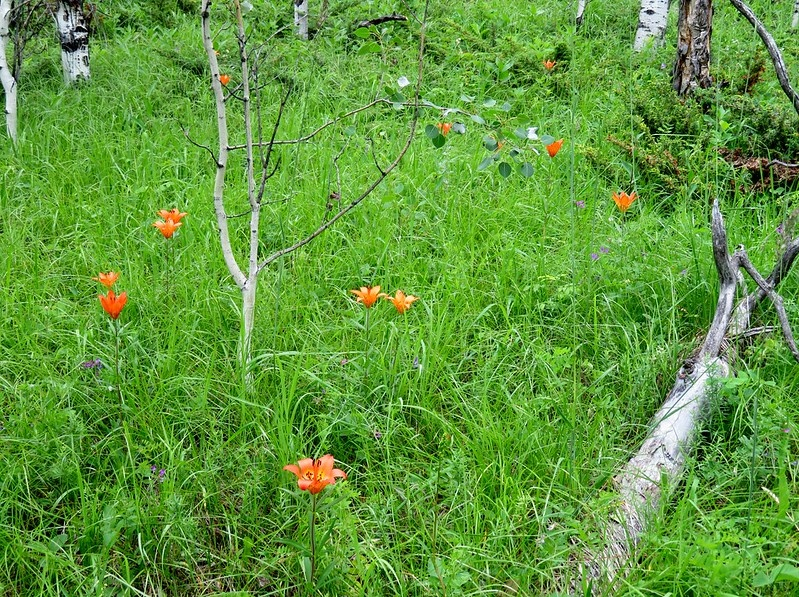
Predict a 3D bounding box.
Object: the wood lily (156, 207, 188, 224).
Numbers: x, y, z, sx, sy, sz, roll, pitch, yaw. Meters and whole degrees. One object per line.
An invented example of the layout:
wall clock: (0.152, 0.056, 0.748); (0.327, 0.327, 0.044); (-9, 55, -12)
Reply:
wood lily: (-1.385, -0.512, 4.268); (0.130, 0.081, 0.139); (16, 33, 25)

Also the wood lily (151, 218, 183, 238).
wood lily: (-1.387, -0.421, 4.267); (0.154, 0.145, 0.183); (-9, 20, -25)

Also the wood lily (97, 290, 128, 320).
wood lily: (-1.562, 0.039, 3.871); (0.095, 0.112, 0.102); (-16, 23, 4)

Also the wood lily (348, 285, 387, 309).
wood lily: (-0.185, -0.002, 3.928); (0.132, 0.087, 0.151); (16, 26, 26)

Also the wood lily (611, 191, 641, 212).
wood lily: (1.537, -0.662, 4.848); (0.149, 0.145, 0.135); (-13, 27, -41)

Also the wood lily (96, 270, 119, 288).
wood lily: (-1.657, -0.112, 4.037); (0.069, 0.055, 0.072); (-10, 27, 27)

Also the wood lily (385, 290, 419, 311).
wood lily: (0.020, 0.028, 3.939); (0.119, 0.070, 0.144); (8, 33, 12)
